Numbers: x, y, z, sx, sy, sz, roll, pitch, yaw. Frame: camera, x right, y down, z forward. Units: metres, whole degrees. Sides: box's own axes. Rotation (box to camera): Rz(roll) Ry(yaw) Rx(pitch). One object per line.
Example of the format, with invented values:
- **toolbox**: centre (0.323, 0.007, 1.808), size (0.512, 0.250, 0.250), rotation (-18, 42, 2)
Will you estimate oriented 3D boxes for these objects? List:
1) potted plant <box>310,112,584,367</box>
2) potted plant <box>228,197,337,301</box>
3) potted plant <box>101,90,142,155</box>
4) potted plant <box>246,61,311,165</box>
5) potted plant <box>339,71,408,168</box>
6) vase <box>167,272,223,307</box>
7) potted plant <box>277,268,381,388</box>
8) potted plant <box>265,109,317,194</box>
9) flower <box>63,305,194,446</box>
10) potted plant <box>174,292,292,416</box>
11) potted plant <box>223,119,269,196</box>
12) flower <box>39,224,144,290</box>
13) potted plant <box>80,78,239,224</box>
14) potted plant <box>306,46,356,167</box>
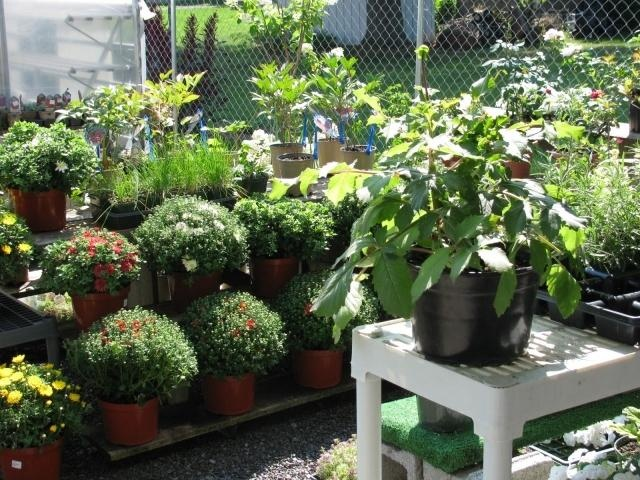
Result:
- **potted plant**: centre (0.304, 0.001, 1.524), size (0.723, 0.660, 0.613), rotation (5, 10, 39)
- **potted plant**: centre (-0.257, 0.024, 3.773), size (0.753, 0.818, 0.632), rotation (0, 10, 19)
- **potted plant**: centre (-1.531, -0.890, 4.112), size (0.353, 0.488, 0.342), rotation (-5, 15, -42)
- **potted plant**: centre (-0.332, -1.105, 4.379), size (0.408, 0.650, 0.417), rotation (-11, 25, -18)
- **potted plant**: centre (0.293, -0.890, 4.348), size (0.572, 0.685, 0.458), rotation (25, 27, 31)
- **vase**: centre (-0.793, 0.301, 3.398), size (0.237, 0.194, 0.249), rotation (0, 7, -10)
- **potted plant**: centre (0.000, 0.556, 3.429), size (0.542, 0.675, 0.619), rotation (-7, -3, 23)
- **potted plant**: centre (-0.216, -0.660, 4.216), size (0.369, 0.602, 0.616), rotation (0, 14, -1)
- **flower**: centre (-1.051, 0.762, 2.844), size (0.596, 0.636, 0.469), rotation (8, -23, -37)
- **potted plant**: centre (-0.480, 0.592, 3.232), size (0.602, 0.718, 0.592), rotation (1, 3, -6)
- **potted plant**: centre (-0.539, -0.550, 4.229), size (0.228, 0.395, 0.269), rotation (-19, 18, -41)
- **flower**: centre (-1.244, 0.083, 3.085), size (0.380, 0.271, 0.469), rotation (9, 6, 12)
- **potted plant**: centre (-1.221, -0.646, 4.077), size (1.101, 1.106, 0.755), rotation (-9, 16, -40)
- **potted plant**: centre (0.131, -1.010, 4.430), size (0.381, 0.885, 0.433), rotation (-12, 7, -4)
